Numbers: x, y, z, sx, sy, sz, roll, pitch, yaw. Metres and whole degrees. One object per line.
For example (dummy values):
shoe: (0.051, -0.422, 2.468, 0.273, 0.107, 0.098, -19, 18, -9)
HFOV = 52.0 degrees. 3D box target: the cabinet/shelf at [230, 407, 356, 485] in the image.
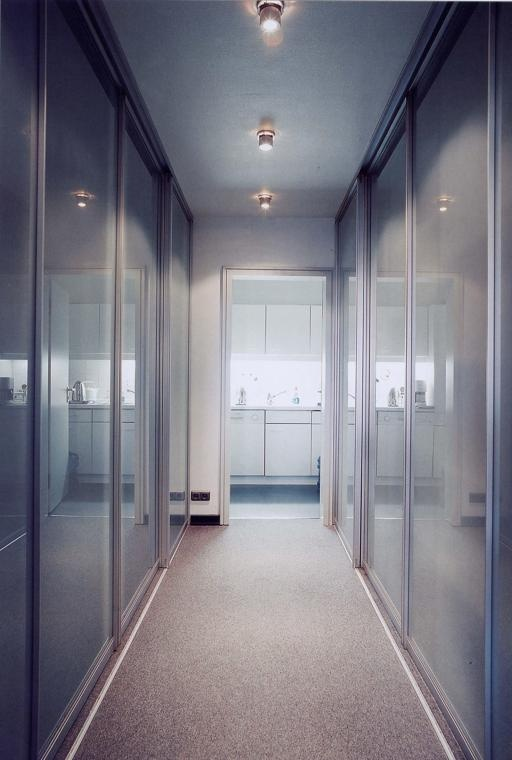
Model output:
cabinet/shelf: (0.210, 0.671, 5.750, 0.959, 0.707, 0.288, 1, 1, 13)

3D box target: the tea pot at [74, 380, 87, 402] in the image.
tea pot: (-0.585, 0.033, 1.784, 0.028, 0.091, 0.038, 0, -1, -8)

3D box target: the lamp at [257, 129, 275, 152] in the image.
lamp: (0.052, -1.248, 2.750, 0.094, 0.077, 0.143, 0, 1, 0)
